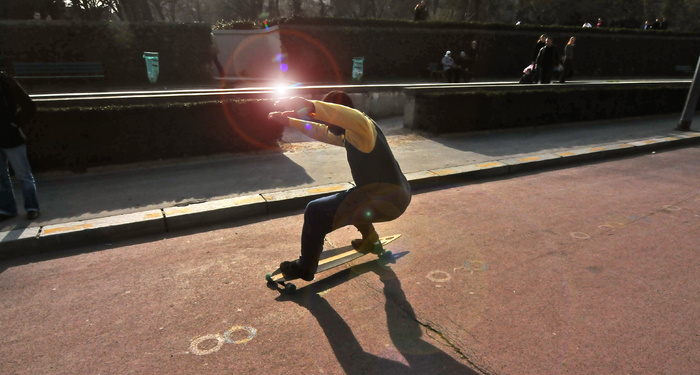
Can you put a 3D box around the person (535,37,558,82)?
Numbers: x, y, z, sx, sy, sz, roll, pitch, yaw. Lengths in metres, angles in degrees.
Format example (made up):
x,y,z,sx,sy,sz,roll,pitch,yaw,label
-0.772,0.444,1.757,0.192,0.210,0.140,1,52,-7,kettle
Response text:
x,y,z,sx,sy,sz,roll,pitch,yaw,label
9.441,-6.091,16.870,0.893,2.399,0.509,6,55,35,person

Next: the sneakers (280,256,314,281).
x,y,z,sx,sy,sz,roll,pitch,yaw,label
-0.895,1.316,5.909,0.592,0.240,0.279,8,16,7,sneakers
